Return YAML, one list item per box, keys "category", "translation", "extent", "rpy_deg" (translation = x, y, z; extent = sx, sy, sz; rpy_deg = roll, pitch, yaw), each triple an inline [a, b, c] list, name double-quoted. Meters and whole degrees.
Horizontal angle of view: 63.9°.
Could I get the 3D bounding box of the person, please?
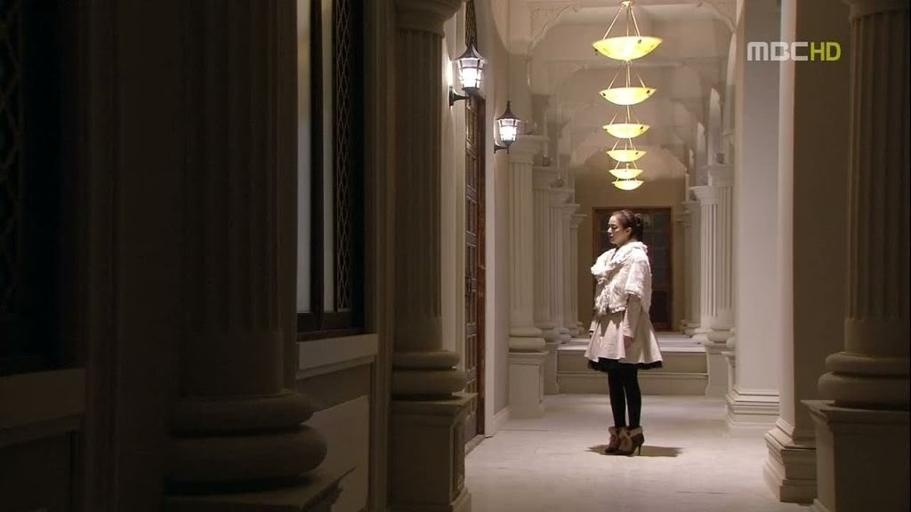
- category: "person"
  translation: [1.778, 0.781, 7.661]
  extent: [0.740, 2.542, 0.709]
  rpy_deg: [-1, -3, 13]
